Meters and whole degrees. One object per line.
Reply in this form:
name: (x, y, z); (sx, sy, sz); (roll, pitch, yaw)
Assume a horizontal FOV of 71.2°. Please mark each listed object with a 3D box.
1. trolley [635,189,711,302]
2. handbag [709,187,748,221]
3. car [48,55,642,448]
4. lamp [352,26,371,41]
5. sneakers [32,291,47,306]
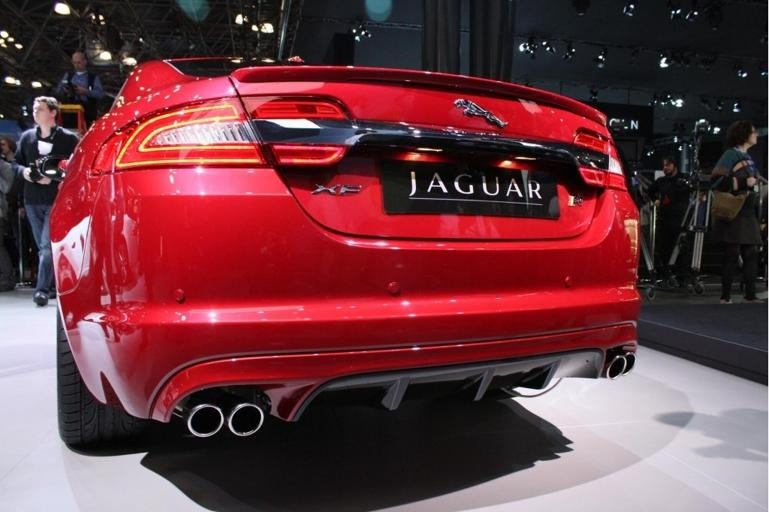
trolley: (4.516, -0.256, 8.083); (0.723, 1.046, 0.728); (-9, -1, -44)
handbag: (3.875, -0.580, 6.052); (0.328, 0.392, 0.174); (18, 8, 30)
car: (-0.161, 0.067, 2.356); (2.500, 1.700, 0.795); (-2, 10, -18)
lamp: (-0.438, -4.079, 9.972); (0.315, 0.153, 0.430); (3, 16, -2)
sneakers: (-3.821, 0.493, 5.951); (0.096, 0.114, 0.258); (29, -19, -12)
